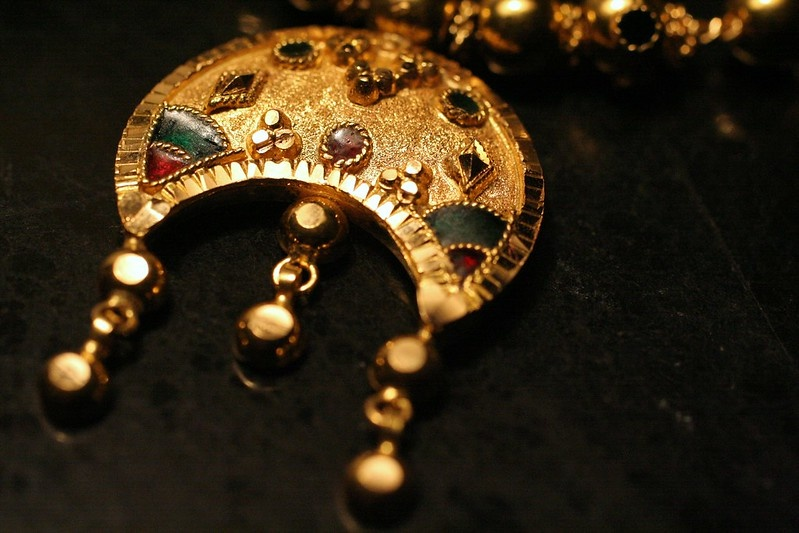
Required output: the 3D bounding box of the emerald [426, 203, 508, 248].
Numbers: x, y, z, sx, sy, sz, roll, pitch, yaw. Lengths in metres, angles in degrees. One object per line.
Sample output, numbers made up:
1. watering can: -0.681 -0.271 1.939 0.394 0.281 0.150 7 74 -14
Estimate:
1. emerald: 0.185 -0.111 2.763 0.216 0.029 0.124 4 73 -6
